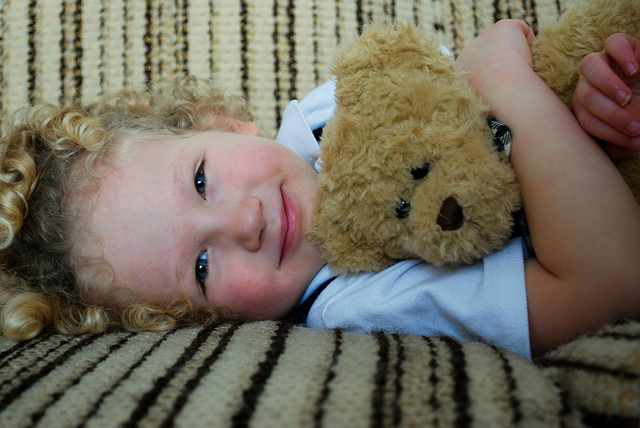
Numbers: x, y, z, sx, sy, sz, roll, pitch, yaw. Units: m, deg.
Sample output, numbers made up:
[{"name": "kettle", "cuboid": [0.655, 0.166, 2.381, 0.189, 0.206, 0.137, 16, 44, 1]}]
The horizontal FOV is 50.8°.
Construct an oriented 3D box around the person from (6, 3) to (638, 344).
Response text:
[{"name": "person", "cuboid": [0.025, -0.028, 1.235, 0.942, 0.379, 0.596, -18, 34, 27]}]
